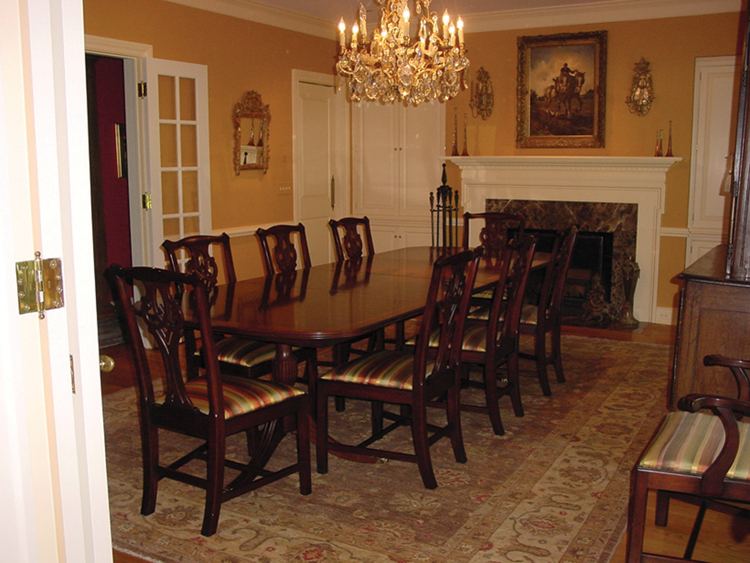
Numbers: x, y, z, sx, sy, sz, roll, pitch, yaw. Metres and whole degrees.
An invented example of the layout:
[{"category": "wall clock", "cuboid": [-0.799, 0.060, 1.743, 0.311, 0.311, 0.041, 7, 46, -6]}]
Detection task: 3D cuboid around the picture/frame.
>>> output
[{"category": "picture/frame", "cuboid": [2.047, -2.126, 6.572, 1.182, 1.523, 0.104, 3, 8, 25]}]
